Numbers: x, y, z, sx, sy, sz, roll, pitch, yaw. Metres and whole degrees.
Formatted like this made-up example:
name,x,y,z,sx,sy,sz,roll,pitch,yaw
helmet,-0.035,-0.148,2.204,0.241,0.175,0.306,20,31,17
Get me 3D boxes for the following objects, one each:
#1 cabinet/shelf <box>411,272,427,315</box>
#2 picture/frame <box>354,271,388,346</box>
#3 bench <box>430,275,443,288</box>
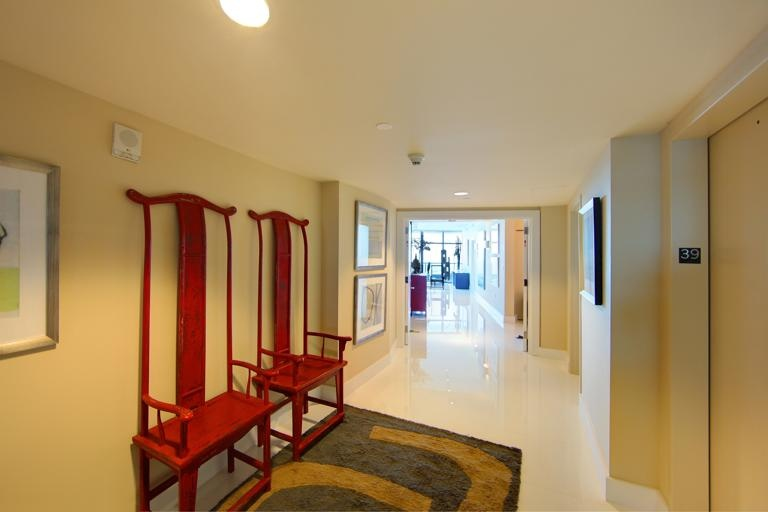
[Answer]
name,x,y,z,sx,sy,sz,roll,pitch,yaw
cabinet/shelf,0.620,0.722,9.545,0.305,0.720,0.311,0,13,-4
picture/frame,-0.176,0.592,5.789,0.053,0.678,0.914,2,0,20
bench,1.796,0.828,17.346,0.377,0.429,0.487,-1,-12,7
